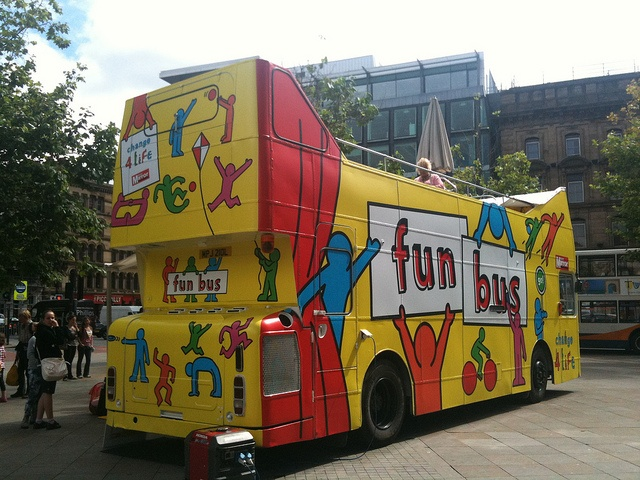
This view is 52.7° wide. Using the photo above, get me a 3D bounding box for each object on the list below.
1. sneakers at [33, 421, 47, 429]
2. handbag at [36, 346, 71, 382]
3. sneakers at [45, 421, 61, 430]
[{"bbox_3d":[-5.591,3.603,12.705,0.227,0.172,0.224,2,-4,-27],"label":"sneakers"},{"bbox_3d":[-5.199,2.319,12.578,0.359,0.737,0.666,-23,-20,40],"label":"handbag"},{"bbox_3d":[-5.297,3.590,12.668,0.108,0.143,0.308,-1,-2,22],"label":"sneakers"}]
